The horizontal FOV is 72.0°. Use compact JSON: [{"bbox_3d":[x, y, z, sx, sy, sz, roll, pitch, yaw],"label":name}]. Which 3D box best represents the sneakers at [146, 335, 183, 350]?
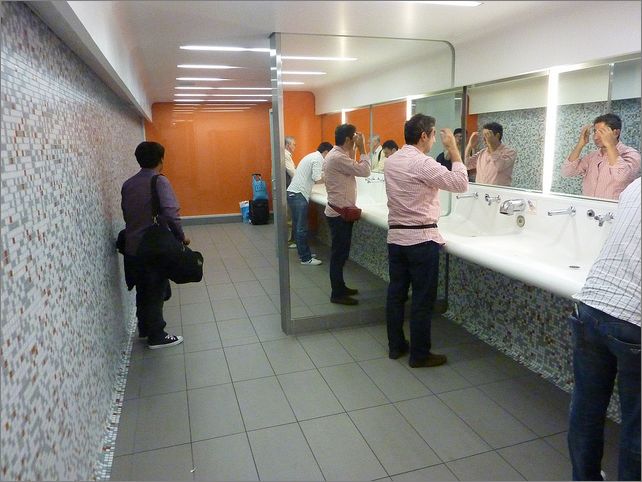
[{"bbox_3d":[-1.372,0.870,3.923,0.275,0.111,0.105,-7,12,-26],"label":"sneakers"}]

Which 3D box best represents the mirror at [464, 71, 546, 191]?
[{"bbox_3d":[1.490,-0.878,3.544,0.039,1.067,0.978,-5,7,-26],"label":"mirror"}]

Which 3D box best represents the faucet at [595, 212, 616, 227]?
[{"bbox_3d":[1.789,-0.144,2.799,0.116,0.049,0.046,-6,1,-8],"label":"faucet"}]

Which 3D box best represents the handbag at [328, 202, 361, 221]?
[{"bbox_3d":[0.214,-0.264,4.004,0.215,0.085,0.166,29,19,16],"label":"handbag"}]

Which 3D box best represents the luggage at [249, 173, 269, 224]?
[{"bbox_3d":[-1.337,-0.887,9.560,0.438,1.040,0.582,-3,14,-8],"label":"luggage"}]

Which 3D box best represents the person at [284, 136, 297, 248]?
[{"bbox_3d":[-0.253,-0.425,3.915,0.100,0.977,0.154,-2,14,-4],"label":"person"}]

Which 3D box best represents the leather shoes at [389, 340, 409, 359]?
[{"bbox_3d":[0.661,0.906,3.704,0.076,0.097,0.228,8,20,38],"label":"leather shoes"}]

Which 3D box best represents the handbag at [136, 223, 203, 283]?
[{"bbox_3d":[-1.249,0.103,3.685,0.484,0.515,0.192,-4,14,-10],"label":"handbag"}]

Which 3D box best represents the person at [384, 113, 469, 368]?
[{"bbox_3d":[0.800,0.128,3.466,0.528,1.710,0.400,-3,14,-8],"label":"person"}]

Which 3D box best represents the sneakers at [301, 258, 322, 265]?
[{"bbox_3d":[-0.072,0.179,4.023,0.170,0.069,0.067,-3,15,-15],"label":"sneakers"}]

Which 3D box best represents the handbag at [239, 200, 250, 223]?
[{"bbox_3d":[-1.651,-0.629,9.725,0.317,0.419,0.414,0,-26,-1],"label":"handbag"}]

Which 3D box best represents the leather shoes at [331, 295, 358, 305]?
[{"bbox_3d":[0.231,0.556,4.230,0.235,0.097,0.087,-3,5,-7],"label":"leather shoes"}]

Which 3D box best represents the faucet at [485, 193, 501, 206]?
[{"bbox_3d":[1.413,-0.346,3.659,0.056,0.055,0.099,26,19,30],"label":"faucet"}]
